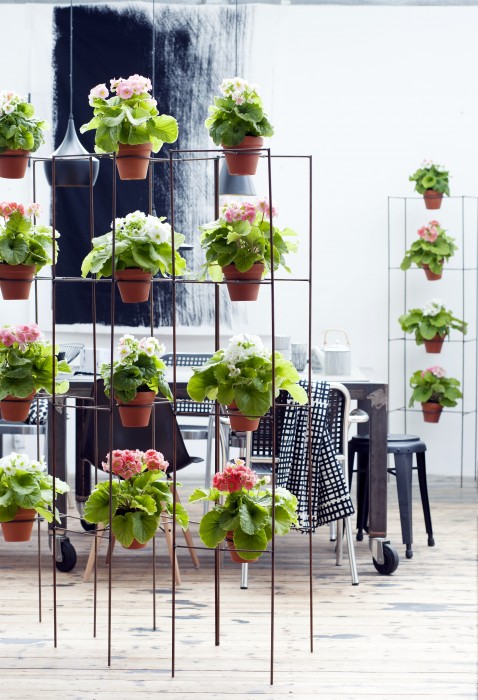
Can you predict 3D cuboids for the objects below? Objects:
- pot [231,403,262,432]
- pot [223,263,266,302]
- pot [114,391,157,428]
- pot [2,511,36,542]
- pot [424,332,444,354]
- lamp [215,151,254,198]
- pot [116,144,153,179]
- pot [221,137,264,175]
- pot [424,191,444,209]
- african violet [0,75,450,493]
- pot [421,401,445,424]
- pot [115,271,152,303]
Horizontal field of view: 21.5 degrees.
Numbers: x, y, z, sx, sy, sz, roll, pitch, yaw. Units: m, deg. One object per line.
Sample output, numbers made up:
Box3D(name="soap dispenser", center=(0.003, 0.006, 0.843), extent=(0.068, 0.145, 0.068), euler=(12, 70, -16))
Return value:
Box3D(name="pot", center=(0.020, 0.223, 4.160), extent=(0.092, 0.068, 0.084), euler=(2, -3, 0))
Box3D(name="pot", center=(0.010, -0.219, 4.136), extent=(0.124, 0.093, 0.122), euler=(1, 3, 0))
Box3D(name="pot", center=(-0.361, 0.204, 4.303), extent=(0.124, 0.100, 0.123), euler=(0, 2, 0))
Box3D(name="pot", center=(-0.763, 0.613, 4.378), extent=(0.115, 0.086, 0.113), euler=(0, -5, 0))
Box3D(name="pot", center=(1.015, -0.031, 6.608), extent=(0.096, 0.072, 0.091), euler=(0, 3, 0))
Box3D(name="lamp", center=(0.001, -0.700, 5.058), extent=(0.148, 0.149, 0.143), euler=(0, -1, -36))
Box3D(name="pot", center=(-0.361, -0.630, 4.205), extent=(0.117, 0.091, 0.115), euler=(0, 11, 0))
Box3D(name="pot", center=(0.007, -0.642, 4.146), extent=(0.125, 0.098, 0.124), euler=(-2, 12, 0))
Box3D(name="pot", center=(1.009, -0.776, 6.567), extent=(0.092, 0.072, 0.092), euler=(0, -2, 0))
Box3D(name="african violet", center=(-0.351, -0.316, 4.268), extent=(0.972, 1.192, 0.691), euler=(8, 12, 41))
Box3D(name="pot", center=(1.019, 0.336, 6.643), extent=(0.111, 0.093, 0.111), euler=(3, -2, 0))
Box3D(name="pot", center=(-0.367, -0.208, 4.221), extent=(0.109, 0.082, 0.109), euler=(1, 1, 0))
